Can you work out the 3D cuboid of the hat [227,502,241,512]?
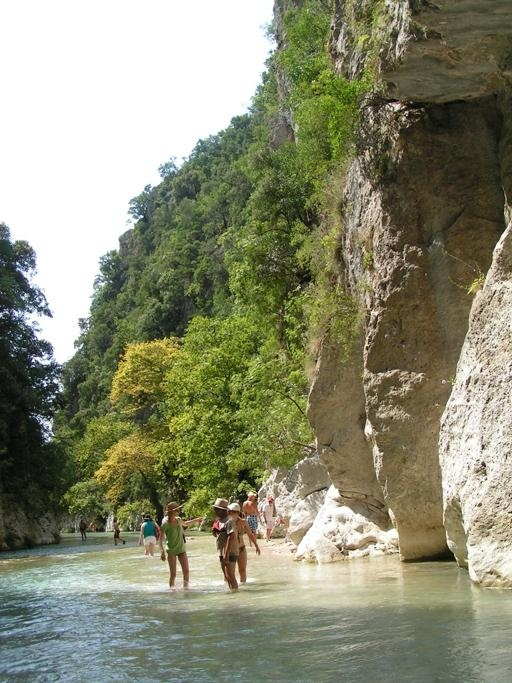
[{"bbox_3d":[-0.369,2.751,11.218,0.189,0.120,0.242,-1,19,-5],"label":"hat"}]
